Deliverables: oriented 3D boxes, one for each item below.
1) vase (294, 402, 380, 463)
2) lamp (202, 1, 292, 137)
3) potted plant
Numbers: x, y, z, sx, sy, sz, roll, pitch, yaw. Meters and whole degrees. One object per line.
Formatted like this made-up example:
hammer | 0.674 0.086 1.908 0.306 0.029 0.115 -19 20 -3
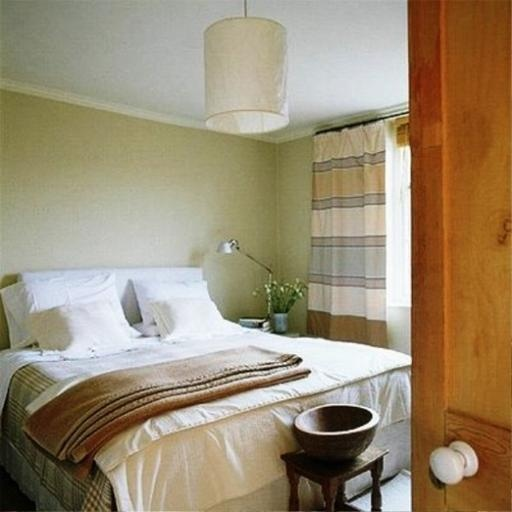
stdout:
vase | 0.332 0.740 2.023 0.327 0.179 0.375 -7 2 -12
lamp | -0.051 -0.823 2.315 0.388 0.449 0.458 -1 8 32
potted plant | 0.219 0.425 4.741 0.401 0.631 0.544 1 0 8
